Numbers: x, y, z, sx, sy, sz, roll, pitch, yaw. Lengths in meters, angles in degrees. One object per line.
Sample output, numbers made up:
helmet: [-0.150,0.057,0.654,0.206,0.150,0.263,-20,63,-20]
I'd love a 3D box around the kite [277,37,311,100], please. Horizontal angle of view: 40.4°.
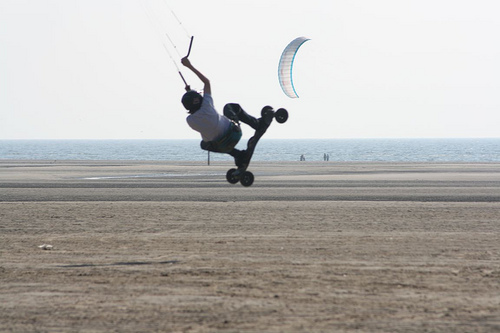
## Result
kite: [1.261,-2.921,20.221,0.560,1.744,1.059,-2,4,-16]
